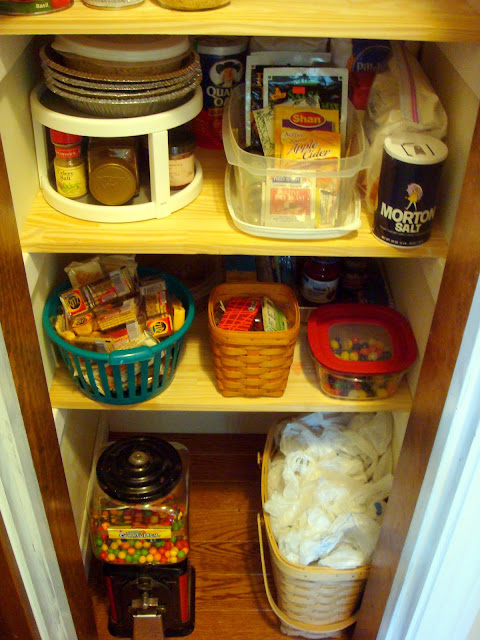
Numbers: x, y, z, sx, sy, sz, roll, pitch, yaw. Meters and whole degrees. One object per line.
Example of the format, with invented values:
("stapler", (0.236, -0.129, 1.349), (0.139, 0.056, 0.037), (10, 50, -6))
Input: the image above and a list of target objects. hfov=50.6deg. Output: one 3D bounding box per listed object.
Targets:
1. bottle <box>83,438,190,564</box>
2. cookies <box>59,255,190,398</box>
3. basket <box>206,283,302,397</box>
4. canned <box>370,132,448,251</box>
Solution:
("bottle", (-0.168, 0.391, 1.170), (0.219, 0.304, 0.255), (1, 42, -1))
("cookies", (-0.193, 0.037, 0.915), (0.224, 0.162, 0.253), (2, 44, -3))
("basket", (0.023, 0.026, 1.002), (0.168, 0.172, 0.223), (2, 37, 1))
("canned", (0.237, -0.176, 0.712), (0.093, 0.139, 0.092), (-25, 40, -31))
